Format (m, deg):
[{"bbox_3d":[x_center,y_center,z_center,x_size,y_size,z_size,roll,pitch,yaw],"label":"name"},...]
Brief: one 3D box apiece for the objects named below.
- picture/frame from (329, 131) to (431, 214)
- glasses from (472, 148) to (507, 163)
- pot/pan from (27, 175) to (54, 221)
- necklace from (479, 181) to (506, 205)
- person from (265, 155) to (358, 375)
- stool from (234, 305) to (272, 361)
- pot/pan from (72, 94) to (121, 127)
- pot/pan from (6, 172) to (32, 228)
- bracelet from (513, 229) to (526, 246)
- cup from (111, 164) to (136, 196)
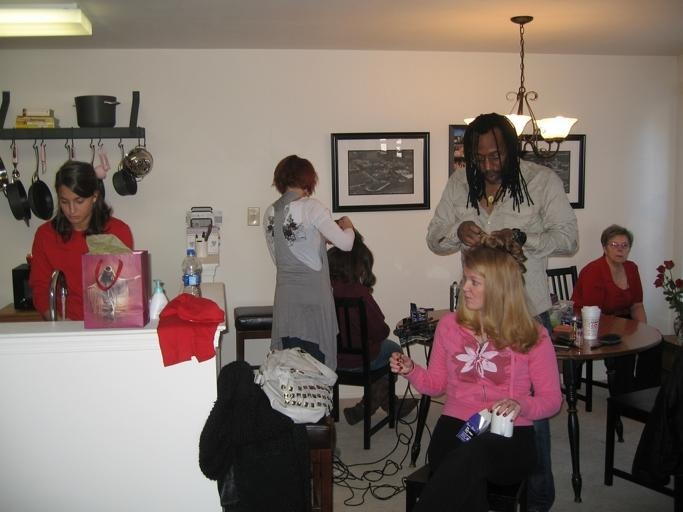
[{"bbox_3d":[0.274,-0.682,4.586,0.707,0.621,0.035,-1,1,-10],"label":"picture/frame"},{"bbox_3d":[0.693,-0.468,2.698,0.088,0.034,0.091,-1,-16,16],"label":"glasses"},{"bbox_3d":[-1.983,-0.378,3.806,0.040,0.295,0.180,-5,14,-8],"label":"pot/pan"},{"bbox_3d":[0.734,-0.299,2.808,0.080,0.122,0.033,-4,-16,22],"label":"necklace"},{"bbox_3d":[-0.200,0.025,3.426,0.542,1.255,0.344,-2,5,2],"label":"person"},{"bbox_3d":[-0.644,0.558,4.335,0.348,0.511,0.372,0,1,-7],"label":"stool"},{"bbox_3d":[-1.712,-1.005,4.019,0.225,0.183,0.314,3,7,17],"label":"pot/pan"},{"bbox_3d":[-2.100,-0.371,3.784,0.096,0.310,0.229,-9,-2,4],"label":"pot/pan"},{"bbox_3d":[0.819,-0.086,2.648,0.056,0.078,0.071,-6,-20,39],"label":"bracelet"},{"bbox_3d":[-1.595,-0.557,4.228,0.090,0.170,0.228,-44,10,-15],"label":"cup"}]
